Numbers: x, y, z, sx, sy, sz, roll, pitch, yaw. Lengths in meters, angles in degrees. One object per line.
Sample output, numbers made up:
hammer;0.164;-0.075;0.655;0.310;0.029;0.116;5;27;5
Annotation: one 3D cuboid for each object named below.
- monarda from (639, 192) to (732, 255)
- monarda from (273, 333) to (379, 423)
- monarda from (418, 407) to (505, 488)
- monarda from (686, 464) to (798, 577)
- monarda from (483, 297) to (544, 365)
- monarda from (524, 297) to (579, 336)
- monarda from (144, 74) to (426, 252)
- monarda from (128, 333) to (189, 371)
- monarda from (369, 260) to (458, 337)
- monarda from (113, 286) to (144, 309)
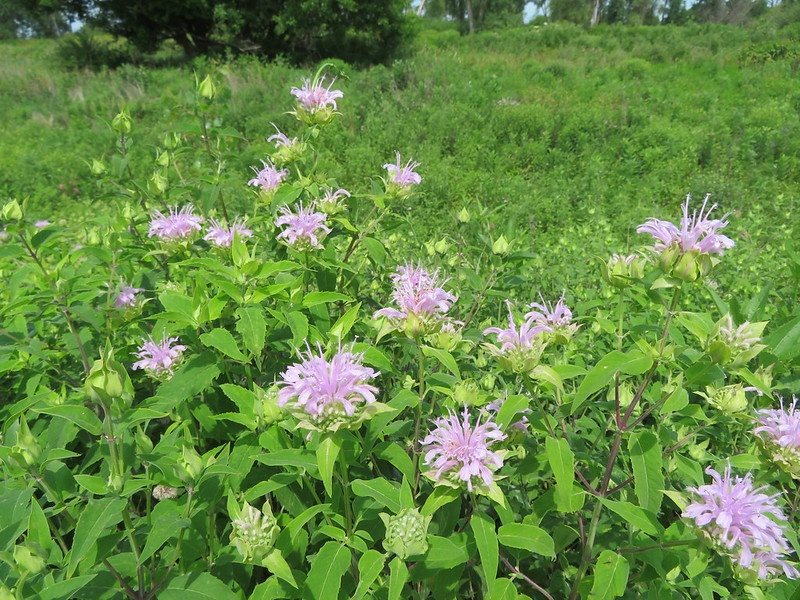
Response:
monarda;1.330;-0.365;3.275;0.392;0.229;0.362;5;37;6
monarda;-0.325;0.369;3.154;0.361;0.234;0.389;20;44;15
monarda;0.291;0.682;3.214;0.368;0.326;0.404;8;37;10
monarda;1.552;1.022;3.157;0.494;0.286;0.532;7;51;-21
monarda;0.582;0.175;3.485;0.289;0.296;0.291;-23;15;-24
monarda;0.755;0.092;3.555;0.224;0.152;0.248;-8;12;-17
monarda;-0.628;-0.664;4.216;1.269;1.236;1.232;-12;37;-16
monarda;-1.295;0.312;3.715;0.197;0.131;0.218;-3;36;17
monarda;0.070;0.073;3.484;0.448;0.512;0.383;-4;77;14
monarda;-1.540;-0.036;3.957;0.135;0.149;0.083;16;3;-5
